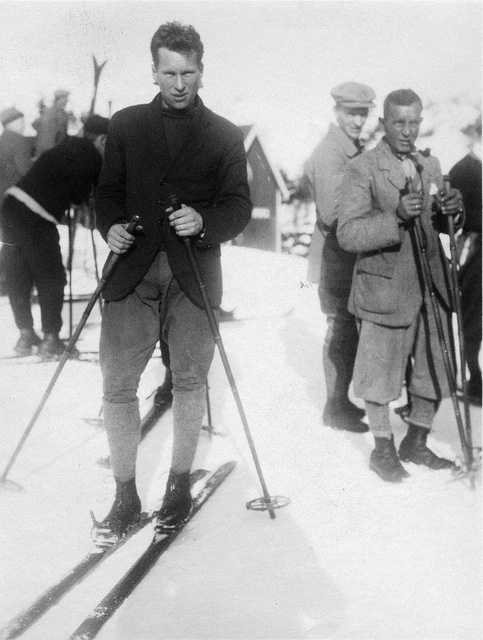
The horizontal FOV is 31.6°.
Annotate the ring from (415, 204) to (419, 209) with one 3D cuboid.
[{"bbox_3d":[0.665,-0.424,3.240,0.025,0.017,0.005,-9,16,-33],"label":"ring"}]

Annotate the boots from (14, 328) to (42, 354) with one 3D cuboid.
[{"bbox_3d":[-1.042,0.112,4.163,0.071,0.109,0.162,4,15,13],"label":"boots"}]

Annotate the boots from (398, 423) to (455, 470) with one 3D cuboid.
[{"bbox_3d":[0.806,0.548,3.665,0.265,0.171,0.099,13,15,33],"label":"boots"}]

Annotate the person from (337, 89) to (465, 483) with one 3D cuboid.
[{"bbox_3d":[0.626,-0.130,3.511,0.473,1.571,0.404,-9,16,-32],"label":"person"}]

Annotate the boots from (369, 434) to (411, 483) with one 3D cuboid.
[{"bbox_3d":[0.615,0.576,3.569,0.096,0.166,0.252,-2,12,-17],"label":"boots"}]

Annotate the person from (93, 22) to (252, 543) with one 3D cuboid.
[{"bbox_3d":[-0.271,-0.136,3.083,0.656,1.795,0.425,-4,14,-18],"label":"person"}]

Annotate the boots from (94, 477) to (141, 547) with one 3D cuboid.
[{"bbox_3d":[-0.452,0.688,3.087,0.095,0.169,0.253,-3,8,26],"label":"boots"}]
